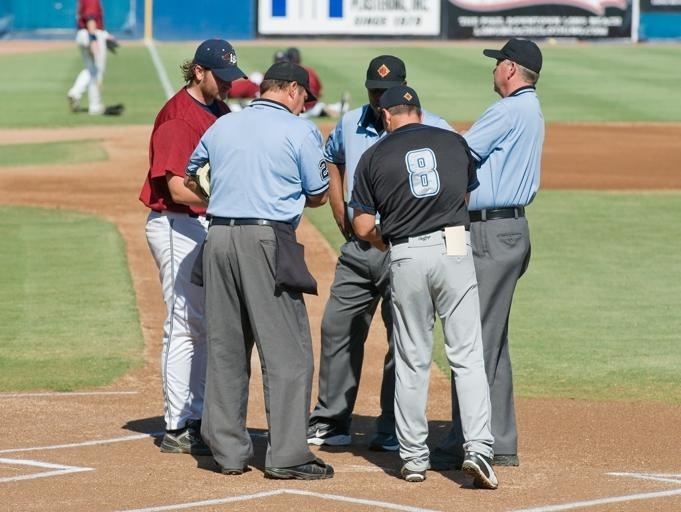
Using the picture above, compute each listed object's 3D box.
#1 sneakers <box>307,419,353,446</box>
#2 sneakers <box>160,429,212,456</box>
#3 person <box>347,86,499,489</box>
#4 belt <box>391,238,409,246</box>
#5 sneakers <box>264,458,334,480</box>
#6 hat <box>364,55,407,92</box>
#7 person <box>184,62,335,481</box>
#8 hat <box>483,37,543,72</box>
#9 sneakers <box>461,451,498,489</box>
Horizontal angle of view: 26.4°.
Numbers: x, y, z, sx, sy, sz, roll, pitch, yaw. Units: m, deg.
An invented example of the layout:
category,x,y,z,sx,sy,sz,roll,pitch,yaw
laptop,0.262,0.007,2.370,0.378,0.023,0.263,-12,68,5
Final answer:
category,x,y,z,sx,sy,sz,roll,pitch,yaw
sneakers,-0.104,1.446,11.669,0.427,0.167,0.143,7,1,-9
sneakers,-1.206,1.464,11.395,0.487,0.176,0.160,1,-2,-2
person,0.656,0.224,10.932,1.198,2.986,0.717,2,10,15
belt,0.451,-0.109,10.891,0.085,0.054,0.076,-6,0,5
sneakers,-0.307,1.638,10.920,0.504,0.191,0.177,-1,4,-7
hat,0.383,-1.454,11.434,0.267,0.159,0.326,6,27,19
person,-0.584,0.108,10.981,1.012,3.140,0.718,-1,10,-4
hat,1.373,-1.580,11.353,0.440,0.181,0.259,12,15,6
sneakers,1.058,1.606,10.814,0.310,0.286,0.189,-3,10,-14
